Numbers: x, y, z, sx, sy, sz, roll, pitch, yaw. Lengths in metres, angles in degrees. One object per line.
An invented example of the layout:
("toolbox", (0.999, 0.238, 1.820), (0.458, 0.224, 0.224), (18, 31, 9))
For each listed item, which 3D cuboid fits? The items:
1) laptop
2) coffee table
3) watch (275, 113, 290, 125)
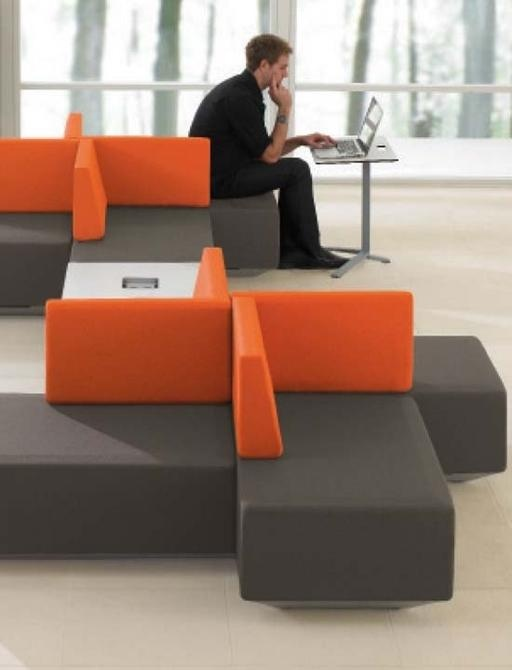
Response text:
("laptop", (0.610, -1.243, 4.693), (0.473, 0.343, 0.558), (-4, 40, 2))
("coffee table", (0.617, -0.807, 4.685), (0.491, 0.664, 0.679), (-2, 18, 9))
("watch", (0.164, -1.364, 4.584), (0.071, 0.076, 0.018), (8, -21, -1))
